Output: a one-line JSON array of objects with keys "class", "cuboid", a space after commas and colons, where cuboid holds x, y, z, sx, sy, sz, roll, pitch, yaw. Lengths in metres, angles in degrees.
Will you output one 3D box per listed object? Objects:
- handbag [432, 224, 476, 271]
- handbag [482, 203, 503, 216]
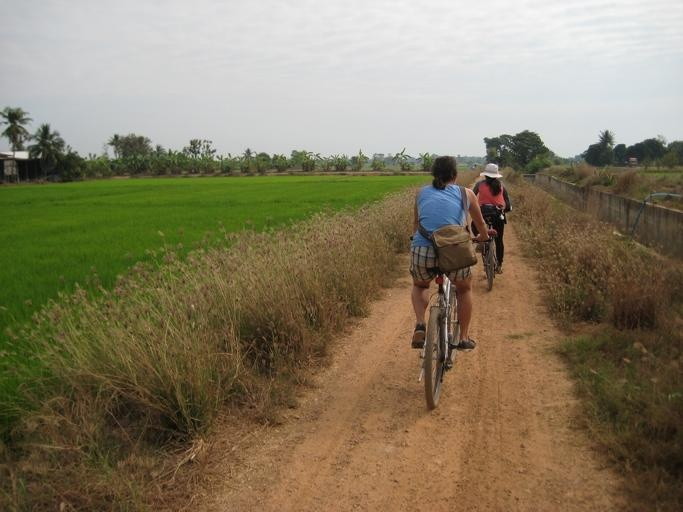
[{"class": "handbag", "cuboid": [1.538, -0.077, 7.263, 0.483, 0.722, 0.340, -12, -17, 9]}, {"class": "handbag", "cuboid": [3.392, -1.044, 12.156, 0.301, 0.174, 0.256, 6, 1, 16]}]
